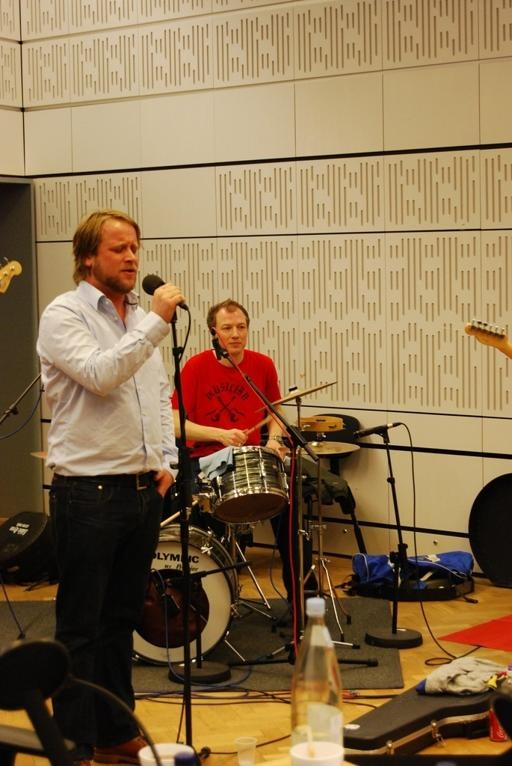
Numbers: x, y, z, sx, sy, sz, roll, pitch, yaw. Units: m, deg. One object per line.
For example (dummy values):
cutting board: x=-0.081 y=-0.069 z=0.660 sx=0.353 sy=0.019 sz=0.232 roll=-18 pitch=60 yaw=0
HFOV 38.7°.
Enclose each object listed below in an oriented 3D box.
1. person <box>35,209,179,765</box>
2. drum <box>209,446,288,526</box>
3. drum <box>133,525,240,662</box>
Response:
person: x=-0.409 y=0.286 z=2.213 sx=0.442 sy=1.568 sz=0.511 roll=-1 pitch=0 yaw=-34
drum: x=-0.016 y=0.448 z=3.334 sx=0.289 sy=0.226 sz=0.303 roll=-2 pitch=-28 yaw=-1
drum: x=-0.372 y=0.991 z=3.362 sx=0.574 sy=0.588 sz=0.240 roll=4 pitch=7 yaw=-1
